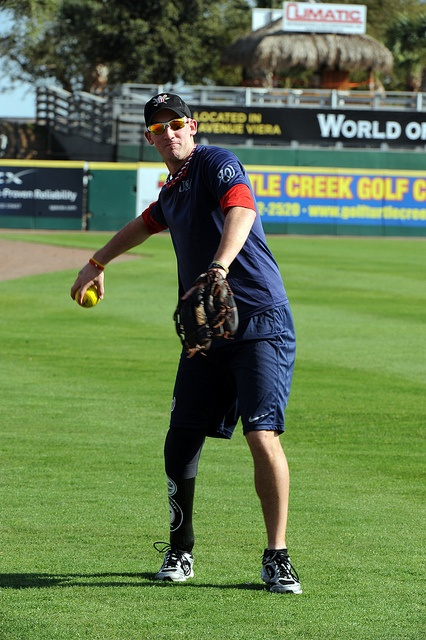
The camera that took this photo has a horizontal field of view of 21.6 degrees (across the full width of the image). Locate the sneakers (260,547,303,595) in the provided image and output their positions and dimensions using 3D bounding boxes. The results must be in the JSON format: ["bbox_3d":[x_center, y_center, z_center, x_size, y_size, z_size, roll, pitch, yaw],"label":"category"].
[{"bbox_3d":[0.244,0.876,3.910,0.106,0.122,0.278,1,3,-11],"label":"sneakers"}]

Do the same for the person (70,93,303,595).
[{"bbox_3d":[0.016,0.036,4.165,0.567,1.725,0.960,1,8,-8],"label":"person"}]

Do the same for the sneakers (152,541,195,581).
[{"bbox_3d":[-0.150,0.867,4.037,0.130,0.108,0.246,5,6,9],"label":"sneakers"}]

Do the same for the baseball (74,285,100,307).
[{"bbox_3d":[-0.490,-0.083,4.593,0.087,0.087,0.103,6,38,21],"label":"baseball"}]

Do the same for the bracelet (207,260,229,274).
[{"bbox_3d":[0.019,-0.175,3.731,0.045,0.019,0.045,8,-10,28],"label":"bracelet"}]

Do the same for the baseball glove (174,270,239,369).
[{"bbox_3d":[-0.019,-0.020,3.788,0.092,0.267,0.208,2,-29,-36],"label":"baseball glove"}]
